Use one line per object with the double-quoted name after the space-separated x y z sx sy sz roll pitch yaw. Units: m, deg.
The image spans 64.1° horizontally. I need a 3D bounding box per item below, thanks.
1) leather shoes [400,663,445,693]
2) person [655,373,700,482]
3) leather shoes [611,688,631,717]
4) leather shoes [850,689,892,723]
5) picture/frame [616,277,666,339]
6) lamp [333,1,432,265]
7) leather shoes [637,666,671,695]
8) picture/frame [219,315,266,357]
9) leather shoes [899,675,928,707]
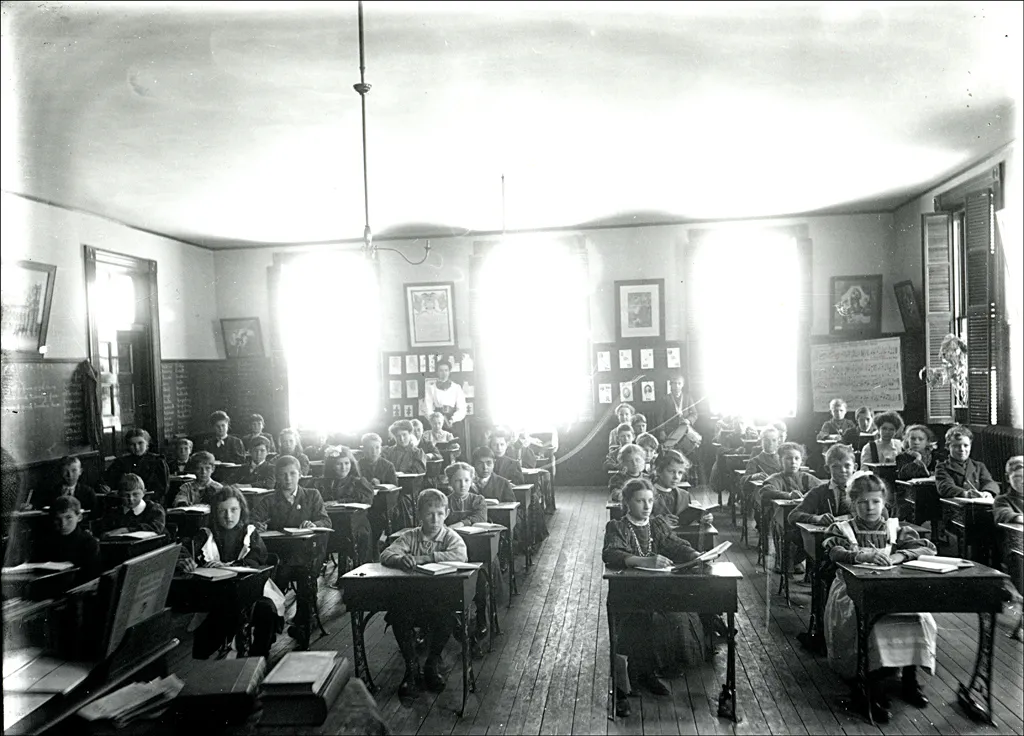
-0.586 1.988 5.341 0.292 0.194 0.187 -3 13 -5 "leather shoes"
1.656 0.534 8.092 0.261 0.779 0.533 -3 -22 -11 "person"
0.679 2.080 5.071 0.090 0.160 0.167 0 -25 2 "leather shoes"
2.187 2.040 4.986 0.233 0.143 0.188 3 14 23 "leather shoes"
1.547 -0.732 9.663 0.705 0.860 0.063 -1 5 10 "picture/frame"
-0.960 -1.695 6.276 0.544 1.878 1.536 -4 13 -6 "lamp"
0.904 1.994 5.249 0.205 0.102 0.248 -1 13 6 "leather shoes"
-2.150 -0.240 6.532 0.311 0.310 0.023 -10 -22 -7 "picture/frame"
2.491 1.991 5.050 0.161 0.160 0.128 5 15 28 "leather shoes"
